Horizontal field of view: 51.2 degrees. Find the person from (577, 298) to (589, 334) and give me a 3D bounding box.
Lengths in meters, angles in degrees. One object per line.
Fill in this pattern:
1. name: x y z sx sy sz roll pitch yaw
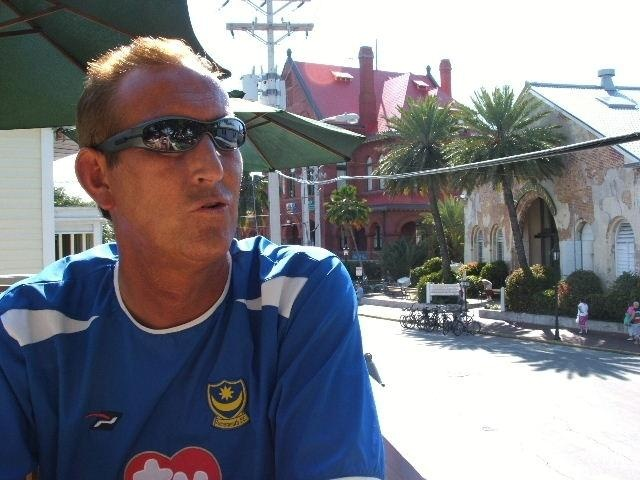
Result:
1. person: 8.953 2.604 22.843 0.325 1.127 1.215 0 -1 23
